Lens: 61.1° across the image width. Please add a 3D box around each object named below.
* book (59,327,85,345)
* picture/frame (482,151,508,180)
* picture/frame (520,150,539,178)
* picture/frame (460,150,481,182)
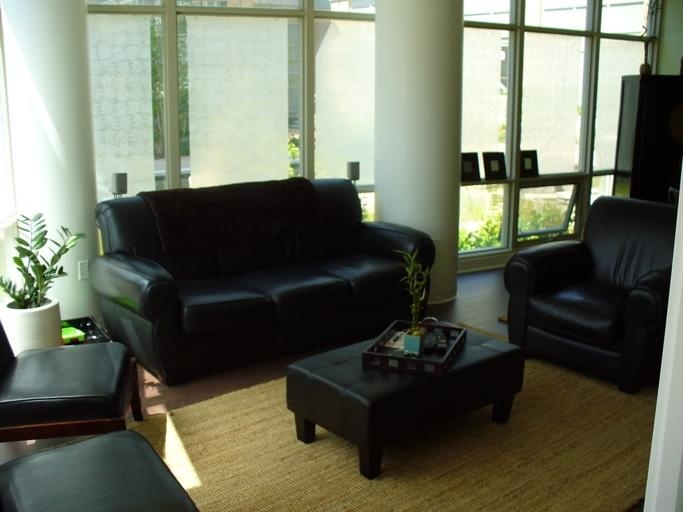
[{"bbox_3d":[-1.882,0.548,4.026,0.134,0.040,0.135,-3,12,-33],"label":"book"},{"bbox_3d":[1.696,-1.009,6.456,0.288,0.303,0.021,-15,9,-39],"label":"picture/frame"},{"bbox_3d":[2.172,-1.067,6.706,0.286,0.299,0.068,0,6,-33],"label":"picture/frame"},{"bbox_3d":[1.367,-0.958,6.203,0.397,0.439,0.029,-12,9,-41],"label":"picture/frame"}]
